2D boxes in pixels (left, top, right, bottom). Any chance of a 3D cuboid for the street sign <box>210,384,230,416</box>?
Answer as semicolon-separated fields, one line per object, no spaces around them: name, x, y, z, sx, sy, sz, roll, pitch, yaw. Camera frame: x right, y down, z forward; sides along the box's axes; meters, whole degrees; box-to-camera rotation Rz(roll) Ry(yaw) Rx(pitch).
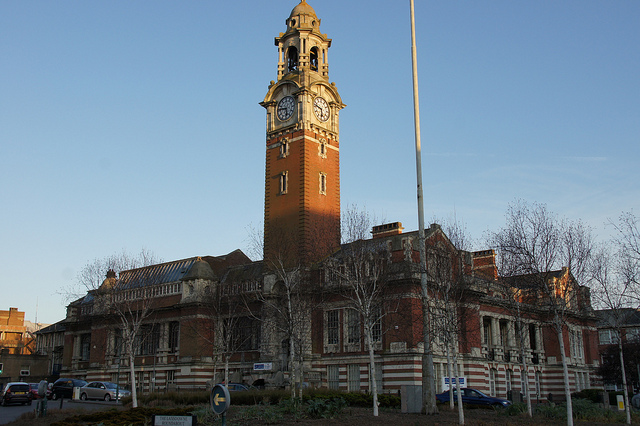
street sign;-5.113;9.594;30.869;0.845;1.583;1.703;2;-20;-11

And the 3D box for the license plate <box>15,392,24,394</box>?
license plate;-28.510;17.098;57.044;0.725;0.171;0.097;-1;-27;-9

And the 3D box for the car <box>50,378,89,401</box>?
car;-27.803;19.309;66.608;4.362;2.196;2.469;-14;-18;23

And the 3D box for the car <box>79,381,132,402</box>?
car;-22.435;18.484;62.428;5.907;2.228;2.296;-12;-22;26

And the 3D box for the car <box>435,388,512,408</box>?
car;14.699;17.587;57.162;6.092;1.968;2.309;-9;-21;19
